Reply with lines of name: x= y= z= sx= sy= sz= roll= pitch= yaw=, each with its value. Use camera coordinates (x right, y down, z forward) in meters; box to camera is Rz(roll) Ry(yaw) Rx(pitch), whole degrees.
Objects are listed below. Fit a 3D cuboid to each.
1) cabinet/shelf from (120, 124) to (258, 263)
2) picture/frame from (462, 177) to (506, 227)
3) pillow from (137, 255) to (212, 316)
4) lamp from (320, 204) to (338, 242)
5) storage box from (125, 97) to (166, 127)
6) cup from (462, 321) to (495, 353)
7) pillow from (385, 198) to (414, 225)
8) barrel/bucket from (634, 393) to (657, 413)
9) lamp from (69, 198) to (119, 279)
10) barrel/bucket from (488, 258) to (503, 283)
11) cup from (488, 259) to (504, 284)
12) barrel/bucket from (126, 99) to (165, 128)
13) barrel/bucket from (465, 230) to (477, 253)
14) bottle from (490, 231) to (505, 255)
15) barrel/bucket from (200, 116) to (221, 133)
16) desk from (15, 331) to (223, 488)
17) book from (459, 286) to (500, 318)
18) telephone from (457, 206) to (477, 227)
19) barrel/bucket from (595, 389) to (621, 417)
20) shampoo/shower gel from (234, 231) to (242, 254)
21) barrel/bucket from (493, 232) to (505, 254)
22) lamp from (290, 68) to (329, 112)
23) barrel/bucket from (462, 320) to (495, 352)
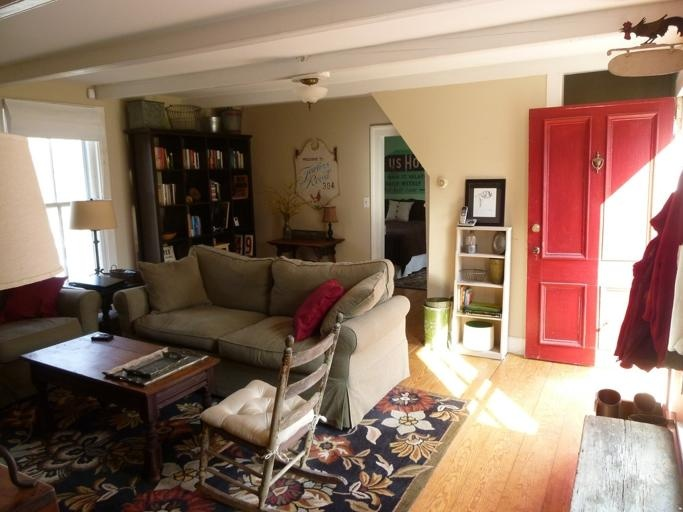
cabinet/shelf: x=-1.982 y=-0.803 z=6.238 sx=0.487 sy=1.987 sz=1.838 roll=3 pitch=8 yaw=27
picture/frame: x=1.414 y=-0.523 z=4.845 sx=0.497 sy=0.570 sz=0.049 roll=3 pitch=7 yaw=25
pillow: x=-1.517 y=0.292 z=4.565 sx=0.522 sy=0.398 sz=0.235 roll=-12 pitch=9 yaw=-42
lamp: x=-0.162 y=-0.490 z=7.155 sx=0.222 sy=0.480 sz=0.310 roll=-2 pitch=10 yaw=-2
storage box: x=-2.340 y=-1.703 z=5.858 sx=0.241 sy=0.284 sz=0.417 roll=1 pitch=8 yaw=24
cup: x=1.371 y=0.804 z=4.952 sx=0.282 sy=0.193 sz=0.273 roll=0 pitch=-1 yaw=0
pillow: x=1.106 y=-0.857 z=9.351 sx=0.469 sy=0.422 sz=0.153 roll=11 pitch=-10 yaw=37
barrel/bucket: x=2.012 y=0.973 z=3.272 sx=0.138 sy=0.098 sz=0.118 roll=2 pitch=10 yaw=19
lamp: x=-2.618 y=-0.203 z=5.251 sx=0.418 sy=0.796 sz=0.686 roll=-7 pitch=11 yaw=-26
barrel/bucket: x=1.502 y=0.136 z=4.852 sx=0.097 sy=0.245 sz=0.217 roll=-4 pitch=10 yaw=-14
cup: x=1.496 y=0.151 z=4.828 sx=0.206 sy=0.278 sz=0.200 roll=1 pitch=-1 yaw=0
barrel/bucket: x=-2.324 y=-1.689 z=5.845 sx=0.225 sy=0.265 sz=0.386 roll=0 pitch=8 yaw=24
barrel/bucket: x=1.297 y=-0.140 z=4.929 sx=0.112 sy=0.201 sz=0.226 roll=1 pitch=10 yaw=15
bottle: x=1.519 y=-0.131 z=4.769 sx=0.042 sy=0.190 sz=0.162 roll=1 pitch=-33 yaw=-24
barrel/bucket: x=-1.715 y=-1.760 z=6.613 sx=0.253 sy=0.199 sz=0.282 roll=-4 pitch=4 yaw=-41
desk: x=-1.443 y=1.159 z=3.528 sx=1.515 sy=0.687 sz=0.763 roll=5 pitch=11 yaw=26
book: x=1.396 y=0.438 z=4.928 sx=0.386 sy=0.251 sz=0.322 roll=1 pitch=10 yaw=16
telephone: x=1.240 y=-0.394 z=4.955 sx=0.204 sy=0.216 sz=0.187 roll=-1 pitch=1 yaw=-35
barrel/bucket: x=1.815 y=1.009 z=3.365 sx=0.132 sy=0.138 sz=0.125 roll=-6 pitch=24 yaw=3
shampoo/shower gel: x=-1.483 y=-0.182 z=7.102 sx=0.061 sy=0.239 sz=0.227 roll=5 pitch=2 yaw=-38
barrel/bucket: x=1.530 y=-0.121 z=4.778 sx=0.109 sy=0.213 sz=0.114 roll=-2 pitch=10 yaw=0
lamp: x=-0.275 y=-1.545 z=4.546 sx=0.298 sy=0.260 sz=0.290 roll=5 pitch=3 yaw=13
barrel/bucket: x=1.364 y=0.806 z=4.971 sx=0.282 sy=0.194 sz=0.274 roll=0 pitch=0 yaw=0
